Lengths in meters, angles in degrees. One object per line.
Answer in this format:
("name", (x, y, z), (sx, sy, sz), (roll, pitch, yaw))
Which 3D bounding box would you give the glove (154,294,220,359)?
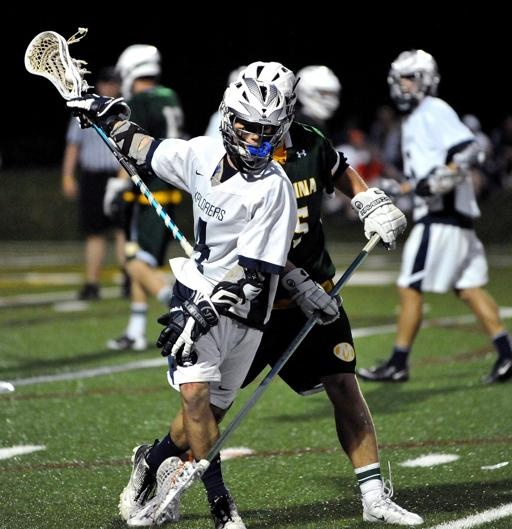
("glove", (-0.198, 0.206, 2.194), (0.162, 0.231, 0.091), (41, 20, 20))

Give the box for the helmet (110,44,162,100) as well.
("helmet", (-0.989, -1.613, 5.838), (0.410, 0.433, 0.284), (-8, 19, -13))

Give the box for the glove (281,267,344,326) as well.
("glove", (0.181, 0.106, 2.452), (0.237, 0.137, 0.087), (44, 20, 2))

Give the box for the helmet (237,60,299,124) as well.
("helmet", (0.013, -0.527, 2.186), (0.163, 0.216, 0.221), (-9, 23, -27))

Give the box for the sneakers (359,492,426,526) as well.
("sneakers", (0.460, 0.854, 2.378), (0.205, 0.100, 0.068), (12, 17, 33))
